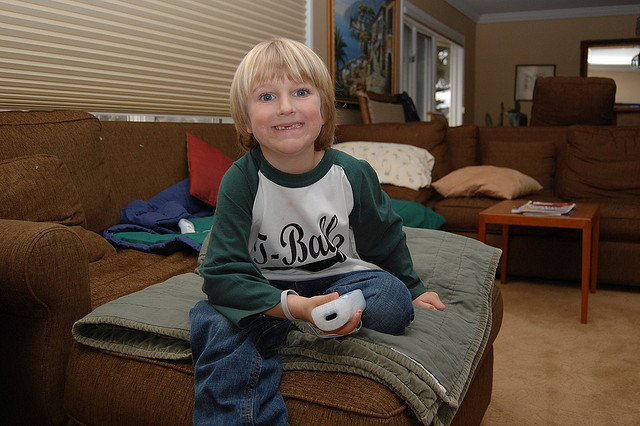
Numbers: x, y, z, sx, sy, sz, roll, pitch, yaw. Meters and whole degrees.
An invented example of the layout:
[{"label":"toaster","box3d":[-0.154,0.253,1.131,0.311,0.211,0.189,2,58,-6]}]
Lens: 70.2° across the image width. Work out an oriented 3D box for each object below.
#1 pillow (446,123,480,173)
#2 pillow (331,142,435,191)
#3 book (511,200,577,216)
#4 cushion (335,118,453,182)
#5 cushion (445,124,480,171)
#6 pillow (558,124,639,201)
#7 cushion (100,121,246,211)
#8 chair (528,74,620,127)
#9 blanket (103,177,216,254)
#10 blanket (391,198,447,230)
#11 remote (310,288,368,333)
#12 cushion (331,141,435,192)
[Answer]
[{"label":"pillow","box3d":[1.171,-0.531,3.718,0.326,0.350,0.357,-4,4,-1]},{"label":"pillow","box3d":[0.509,-0.370,3.293,0.543,0.147,0.481,10,35,7]},{"label":"book","box3d":[1.298,-0.035,2.657,0.314,0.058,0.221,6,14,29]},{"label":"cushion","box3d":[0.641,-0.530,3.812,0.720,0.209,0.598,3,55,12]},{"label":"cushion","box3d":[1.167,-0.530,3.713,0.352,0.350,0.169,-5,0,25]},{"label":"pillow","box3d":[2.068,-0.369,3.340,0.569,0.540,0.182,2,-10,31]},{"label":"cushion","box3d":[-0.860,-0.301,2.649,0.062,0.476,0.871,26,25,36]},{"label":"chair","box3d":[2.135,-0.947,3.807,0.606,0.603,0.275,2,24,18]},{"label":"blanket","box3d":[-0.767,0.007,2.173,0.499,0.170,0.397,10,28,37]},{"label":"blanket","box3d":[0.631,0.010,2.949,0.264,0.086,0.298,5,-7,41]},{"label":"remote","box3d":[0.058,0.251,1.223,0.107,0.068,0.191,-27,-2,21]},{"label":"cushion","box3d":[0.494,-0.381,3.299,0.520,0.150,0.456,10,33,5]}]
